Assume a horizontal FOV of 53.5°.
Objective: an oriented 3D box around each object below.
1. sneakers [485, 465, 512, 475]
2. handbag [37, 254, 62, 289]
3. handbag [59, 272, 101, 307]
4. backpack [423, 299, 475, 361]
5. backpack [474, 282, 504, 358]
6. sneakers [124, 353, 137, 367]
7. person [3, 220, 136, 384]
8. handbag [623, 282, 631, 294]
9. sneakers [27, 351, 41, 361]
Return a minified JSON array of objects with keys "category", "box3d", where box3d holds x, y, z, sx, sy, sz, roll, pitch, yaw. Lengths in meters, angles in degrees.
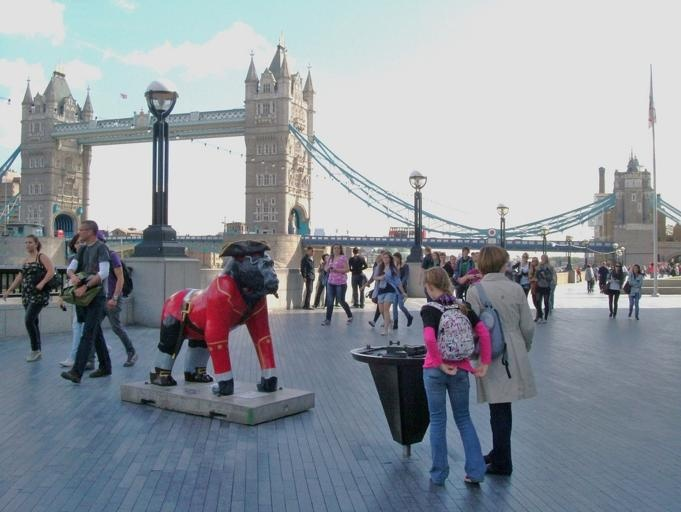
[{"category":"sneakers","box3d":[1.373,1.853,5.853,0.208,0.103,0.061,1,1,17]},{"category":"handbag","box3d":[-4.381,0.225,10.151,0.362,0.780,0.479,-2,-1,-25]},{"category":"handbag","box3d":[-3.321,0.476,8.663,0.388,0.438,0.178,26,-29,10]},{"category":"backpack","box3d":[0.903,0.632,5.642,0.422,0.508,0.163,1,0,-20]},{"category":"backpack","box3d":[1.308,0.575,5.871,0.262,0.648,0.129,1,0,13]},{"category":"sneakers","box3d":[-3.028,1.501,9.758,0.083,0.122,0.257,-3,2,2]},{"category":"person","box3d":[-3.312,0.565,9.206,0.795,1.642,1.792,1,1,-6]},{"category":"handbag","box3d":[7.848,0.869,18.532,0.169,0.328,0.532,1,1,16]},{"category":"sneakers","box3d":[-4.479,1.477,9.916,0.081,0.134,0.239,-2,-4,9]}]
